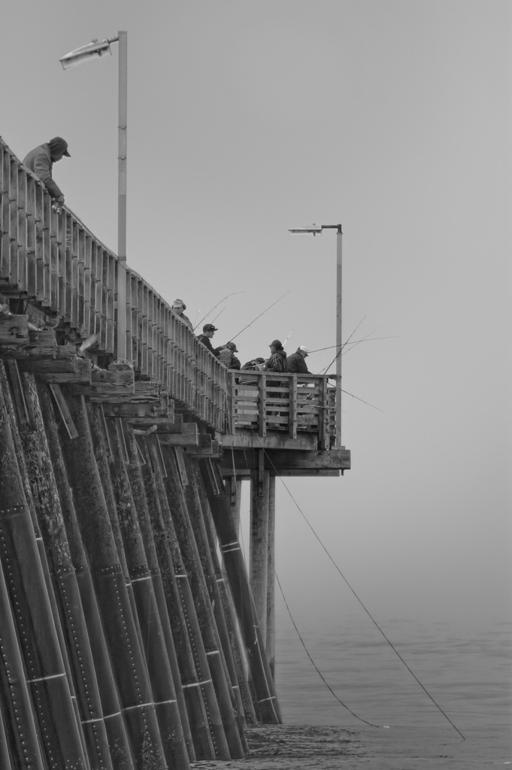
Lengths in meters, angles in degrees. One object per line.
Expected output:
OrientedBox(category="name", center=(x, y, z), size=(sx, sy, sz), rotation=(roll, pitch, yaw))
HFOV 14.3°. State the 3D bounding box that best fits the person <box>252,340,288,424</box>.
OrientedBox(category="person", center=(0.283, -0.404, 28.605), size=(0.418, 0.882, 0.441), rotation=(0, -6, 14))
